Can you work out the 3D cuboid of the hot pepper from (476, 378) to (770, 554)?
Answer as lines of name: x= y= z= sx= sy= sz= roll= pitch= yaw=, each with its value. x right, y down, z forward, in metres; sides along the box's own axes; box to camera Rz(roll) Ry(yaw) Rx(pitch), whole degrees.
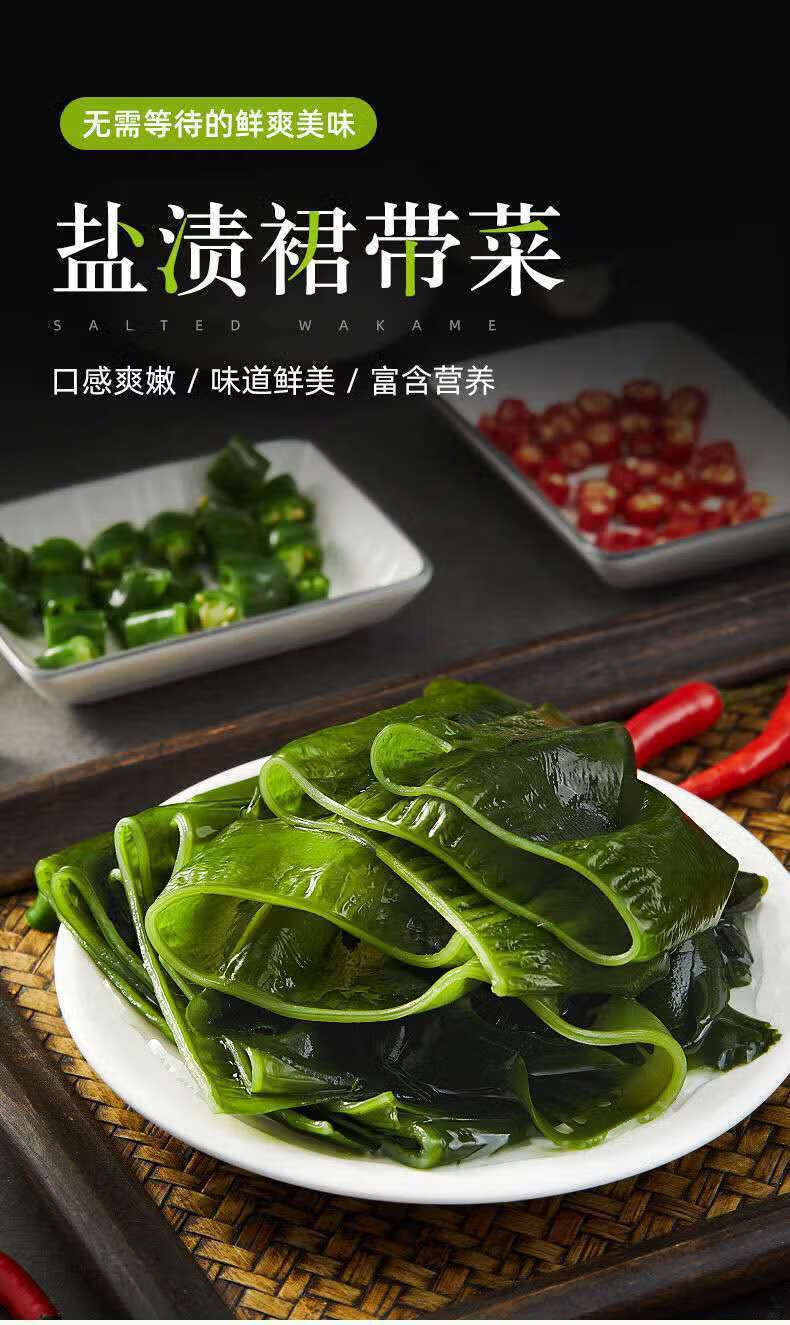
hot pepper: x=0.343 y=-0.292 z=1.620 sx=0.320 sy=0.089 sz=0.307 roll=-15 pitch=45 yaw=-19

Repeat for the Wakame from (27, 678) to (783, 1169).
Wakame: x=0.033 y=0.120 z=0.733 sx=0.370 sy=0.233 sz=0.395 roll=-15 pitch=24 yaw=-26
